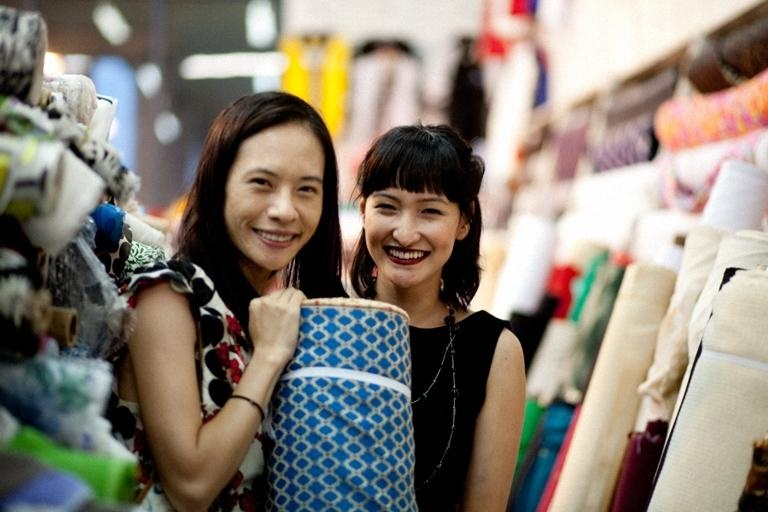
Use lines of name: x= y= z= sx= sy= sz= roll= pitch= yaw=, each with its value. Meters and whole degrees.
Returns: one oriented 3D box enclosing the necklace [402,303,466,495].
necklace: x=0.197 y=0.515 z=2.575 sx=0.153 sy=0.510 sz=0.191 roll=11 pitch=5 yaw=41
